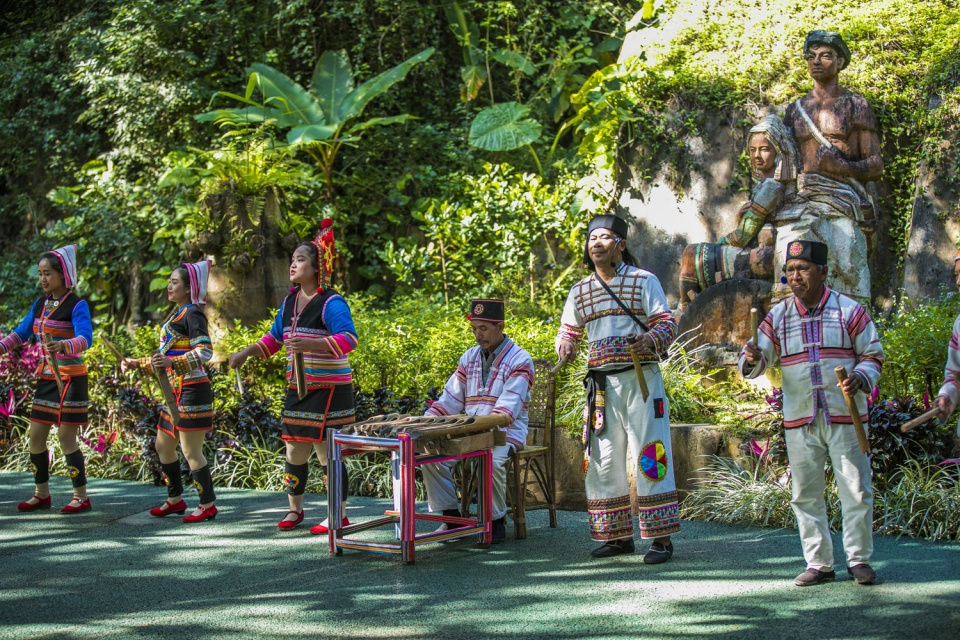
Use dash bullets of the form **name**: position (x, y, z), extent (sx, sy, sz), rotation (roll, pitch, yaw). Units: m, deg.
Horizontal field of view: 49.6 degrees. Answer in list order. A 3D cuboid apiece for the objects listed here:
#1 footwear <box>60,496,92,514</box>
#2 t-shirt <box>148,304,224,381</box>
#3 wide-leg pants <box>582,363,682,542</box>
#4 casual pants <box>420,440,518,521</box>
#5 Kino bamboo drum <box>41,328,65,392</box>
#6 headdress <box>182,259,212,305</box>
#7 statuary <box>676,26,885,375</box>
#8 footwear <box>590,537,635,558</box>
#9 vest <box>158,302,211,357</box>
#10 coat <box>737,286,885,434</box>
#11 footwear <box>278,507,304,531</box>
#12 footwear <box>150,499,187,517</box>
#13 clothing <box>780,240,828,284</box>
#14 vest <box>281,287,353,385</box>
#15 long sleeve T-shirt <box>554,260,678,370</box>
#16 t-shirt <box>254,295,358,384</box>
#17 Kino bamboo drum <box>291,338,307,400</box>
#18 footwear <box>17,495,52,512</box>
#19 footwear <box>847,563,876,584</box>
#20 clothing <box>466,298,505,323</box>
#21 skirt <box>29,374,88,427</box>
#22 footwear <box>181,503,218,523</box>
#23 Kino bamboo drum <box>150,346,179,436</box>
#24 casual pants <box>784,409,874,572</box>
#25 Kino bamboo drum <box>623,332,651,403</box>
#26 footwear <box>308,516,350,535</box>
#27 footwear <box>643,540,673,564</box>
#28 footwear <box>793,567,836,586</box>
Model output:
- **footwear**: position (-3.846, 1.758, 9.871), extent (0.252, 0.105, 0.135), rotation (2, -5, -37)
- **t-shirt**: position (-2.658, 0.221, 9.431), extent (0.549, 0.892, 1.053), rotation (5, -3, -22)
- **wide-leg pants**: position (1.218, 1.056, 8.559), extent (0.696, 1.402, 0.451), rotation (-6, -11, 21)
- **casual pants**: position (-0.214, 1.477, 9.128), extent (0.695, 0.889, 0.523), rotation (0, -10, -5)
- **Kino bamboo drum**: position (-4.031, 0.370, 9.783), extent (0.105, 0.639, 0.317), rotation (-10, 13, -34)
- **headdress**: position (-2.597, -0.405, 9.710), extent (0.263, 0.374, 0.361), rotation (3, 2, 31)
- **statuary**: position (3.087, -1.455, 10.365), extent (1.837, 2.909, 1.672), rotation (-4, 5, -11)
- **footwear**: position (1.112, 1.872, 8.571), extent (0.397, 0.182, 0.139), rotation (-1, -4, -14)
- **vest**: position (-2.805, 0.136, 9.601), extent (0.373, 0.597, 0.594), rotation (2, 6, -45)
- **coat**: position (2.550, 0.329, 7.948), extent (1.046, 1.076, 0.697), rotation (-4, 9, 18)
- **footwear**: position (-1.692, 1.796, 9.327), extent (0.107, 0.124, 0.296), rotation (-3, -4, 20)
- **footwear**: position (-2.900, 1.753, 9.667), extent (0.302, 0.135, 0.146), rotation (3, -2, -6)
- **clothing**: position (2.491, -0.447, 7.992), extent (0.348, 0.297, 0.356), rotation (5, -1, 17)
- **vest**: position (-1.386, 0.157, 9.039), extent (0.587, 0.818, 0.530), rotation (-4, 11, -12)
- **long sleeve T-shirt**: position (1.103, -0.037, 8.626), extent (1.045, 0.869, 0.544), rotation (-6, -9, 32)
- **t-shirt**: position (-1.498, 0.139, 9.193), extent (1.078, 0.857, 0.754), rotation (0, -1, 36)
- **Kino bamboo drum**: position (-1.549, 0.479, 8.966), extent (0.106, 0.437, 0.100), rotation (-2, 11, 0)
- **footwear**: position (-4.257, 1.757, 9.935), extent (0.342, 0.148, 0.130), rotation (1, -1, -13)
- **footwear**: position (2.883, 1.909, 7.822), extent (0.101, 0.084, 0.216), rotation (-10, -1, -15)
- **clothing**: position (0.067, -0.085, 8.950), extent (0.219, 0.139, 0.225), rotation (3, 0, 15)
- **skirt**: position (-3.988, 0.739, 9.910), extent (0.555, 0.527, 0.312), rotation (2, -2, 18)
- **footwear**: position (-2.555, 1.773, 9.532), extent (0.274, 0.125, 0.149), rotation (-1, -3, -10)
- **Kino bamboo drum**: position (-2.810, 0.649, 9.275), extent (0.160, 0.606, 0.084), rotation (-15, 10, -23)
- **casual pants**: position (2.671, 1.284, 7.918), extent (0.555, 1.277, 0.364), rotation (-4, -7, 22)
- **Kino bamboo drum**: position (1.270, 0.397, 8.345), extent (0.098, 0.615, 0.125), rotation (3, 29, 44)
- **footwear**: position (-1.306, 1.827, 9.141), extent (0.373, 0.146, 0.189), rotation (3, -7, -25)
- **footwear**: position (1.440, 1.861, 8.337), extent (0.119, 0.109, 0.275), rotation (-4, -3, 33)
- **footwear**: position (2.520, 1.940, 7.815), extent (0.324, 0.137, 0.122), rotation (-2, 0, -7)
